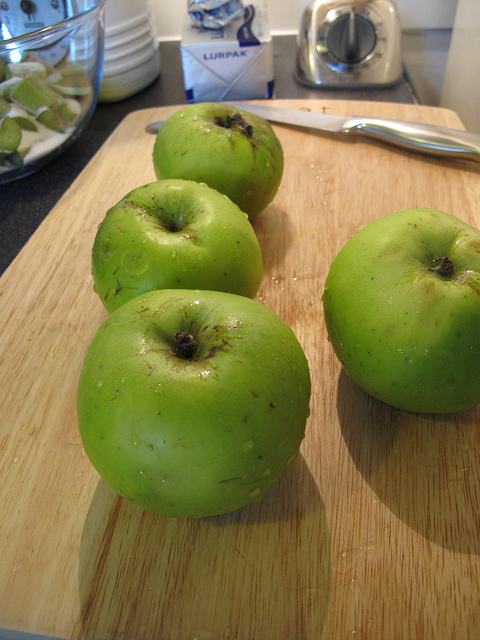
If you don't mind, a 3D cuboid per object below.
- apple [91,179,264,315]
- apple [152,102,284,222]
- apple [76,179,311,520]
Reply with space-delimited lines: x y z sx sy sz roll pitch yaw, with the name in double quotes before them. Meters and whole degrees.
"apple" -0.060 -0.072 0.553 0.160 0.075 0.195 -2 48 1
"apple" -0.019 -0.211 0.779 0.157 0.168 0.160 -22 49 -18
"apple" -0.056 0.004 0.545 0.182 0.150 0.367 -3 41 -8
